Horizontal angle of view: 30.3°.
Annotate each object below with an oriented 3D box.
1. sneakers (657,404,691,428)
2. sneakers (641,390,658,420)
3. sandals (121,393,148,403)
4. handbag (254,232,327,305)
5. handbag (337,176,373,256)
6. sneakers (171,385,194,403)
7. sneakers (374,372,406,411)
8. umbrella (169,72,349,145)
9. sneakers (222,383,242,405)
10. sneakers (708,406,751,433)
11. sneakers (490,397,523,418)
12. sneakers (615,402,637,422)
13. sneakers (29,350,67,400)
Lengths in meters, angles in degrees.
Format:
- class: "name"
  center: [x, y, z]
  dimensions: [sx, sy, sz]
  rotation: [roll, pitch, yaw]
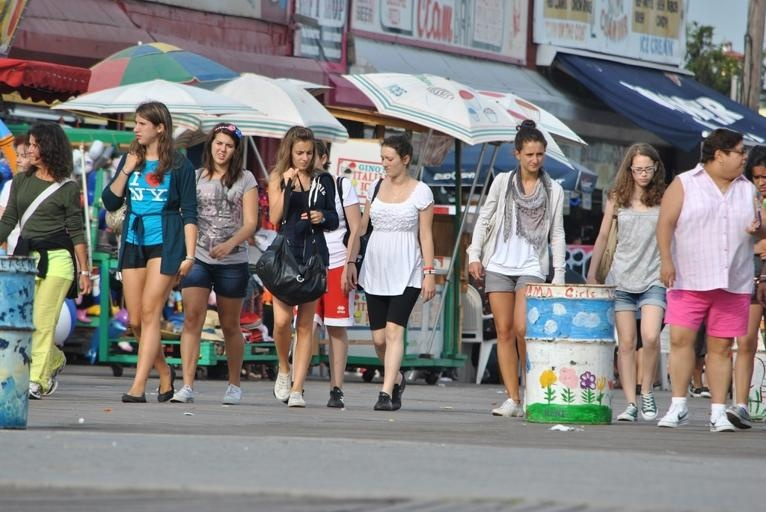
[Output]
- class: "sneakers"
  center: [2.646, 1.473, 12.893]
  dimensions: [0.122, 0.153, 0.343]
  rotation: [0, -2, 39]
- class: "sneakers"
  center: [2.548, 1.404, 13.532]
  dimensions: [0.117, 0.137, 0.340]
  rotation: [-2, 28, 7]
- class: "sandals"
  center: [-2.364, 1.357, 13.455]
  dimensions: [0.245, 0.103, 0.085]
  rotation: [14, -9, -33]
- class: "handbag"
  center: [-0.852, 0.110, 13.470]
  dimensions: [0.628, 0.679, 0.372]
  rotation: [13, -9, -6]
- class: "handbag"
  center: [-0.277, -0.378, 13.719]
  dimensions: [0.396, 0.696, 0.655]
  rotation: [8, 5, 19]
- class: "sneakers"
  center: [-1.908, 1.335, 13.596]
  dimensions: [0.100, 0.129, 0.258]
  rotation: [4, -6, 24]
- class: "sneakers"
  center: [0.072, 1.341, 13.791]
  dimensions: [0.151, 0.171, 0.435]
  rotation: [-8, 34, 27]
- class: "umbrella"
  center: [-1.359, -1.875, 17.090]
  dimensions: [1.157, 0.411, 1.230]
  rotation: [29, 44, 15]
- class: "sneakers"
  center: [-1.463, 1.363, 13.765]
  dimensions: [0.110, 0.132, 0.289]
  rotation: [2, -7, 6]
- class: "sneakers"
  center: [3.122, 1.462, 12.709]
  dimensions: [0.582, 0.210, 0.246]
  rotation: [3, -2, -34]
- class: "sneakers"
  center: [1.208, 1.463, 13.599]
  dimensions: [0.347, 0.177, 0.130]
  rotation: [3, -1, -24]
- class: "sneakers"
  center: [2.339, 1.504, 13.486]
  dimensions: [0.111, 0.144, 0.327]
  rotation: [1, -8, 24]
- class: "sneakers"
  center: [-3.308, 1.193, 13.748]
  dimensions: [0.186, 0.266, 0.605]
  rotation: [25, 35, 2]
